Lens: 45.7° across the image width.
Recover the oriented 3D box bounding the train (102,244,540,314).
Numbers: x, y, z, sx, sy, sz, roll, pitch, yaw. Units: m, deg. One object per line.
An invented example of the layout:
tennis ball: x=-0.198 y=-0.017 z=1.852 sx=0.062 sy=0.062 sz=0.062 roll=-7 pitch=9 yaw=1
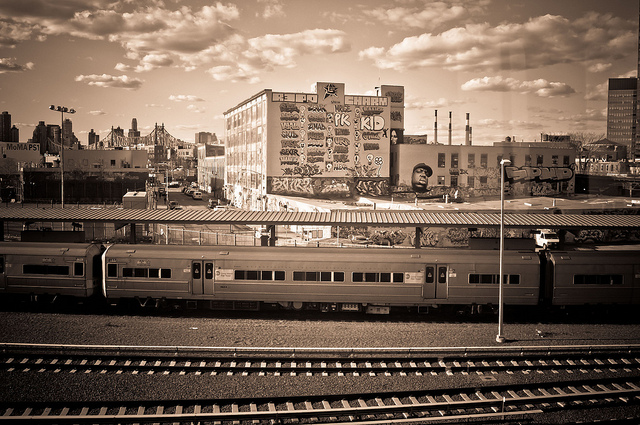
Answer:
train: x=-0.124 y=4.710 z=53.779 sx=37.077 sy=5.623 sz=4.220 roll=1 pitch=3 yaw=2

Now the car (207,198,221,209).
car: x=-16.898 y=-1.356 z=120.625 sx=1.752 sy=1.129 sz=3.579 roll=-1 pitch=4 yaw=-21

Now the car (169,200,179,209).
car: x=-22.459 y=-1.241 z=116.871 sx=1.739 sy=1.265 sz=3.589 roll=-1 pitch=1 yaw=-18

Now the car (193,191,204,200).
car: x=-22.182 y=-3.035 z=137.235 sx=1.144 sy=0.763 sz=2.448 roll=-2 pitch=12 yaw=-16

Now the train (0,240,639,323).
train: x=-0.229 y=5.061 z=53.990 sx=41.527 sy=4.861 sz=4.692 roll=2 pitch=3 yaw=3
